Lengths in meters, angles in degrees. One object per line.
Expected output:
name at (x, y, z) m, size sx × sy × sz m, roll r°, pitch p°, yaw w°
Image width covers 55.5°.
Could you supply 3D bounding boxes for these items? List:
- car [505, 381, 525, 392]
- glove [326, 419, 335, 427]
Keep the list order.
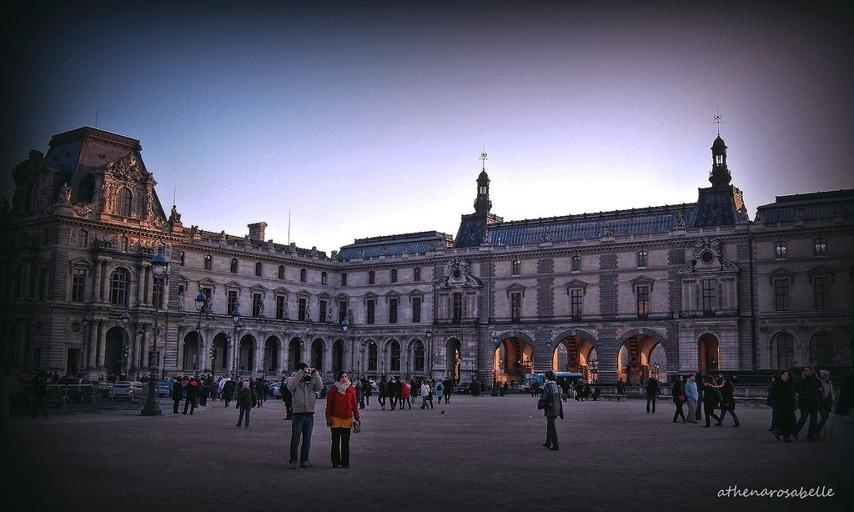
car at (10.076, 15.084, 93.211) m, size 2.078 × 1.322 × 3.103 m, roll -1°, pitch -15°, yaw 5°
glove at (-3.553, 6.184, 29.975) m, size 0.319 × 0.304 × 0.290 m, roll 0°, pitch -15°, yaw -3°
